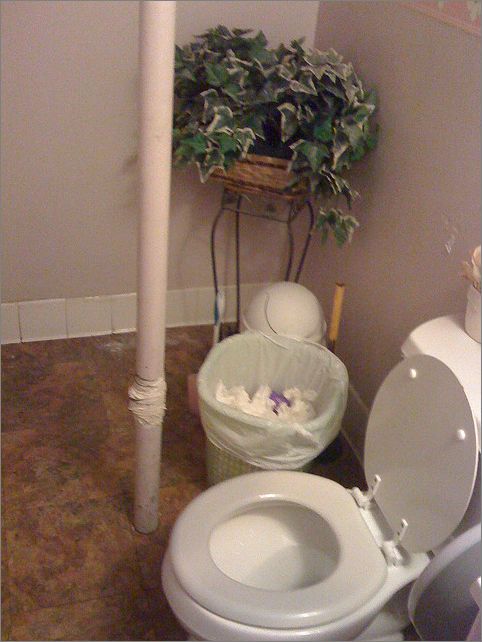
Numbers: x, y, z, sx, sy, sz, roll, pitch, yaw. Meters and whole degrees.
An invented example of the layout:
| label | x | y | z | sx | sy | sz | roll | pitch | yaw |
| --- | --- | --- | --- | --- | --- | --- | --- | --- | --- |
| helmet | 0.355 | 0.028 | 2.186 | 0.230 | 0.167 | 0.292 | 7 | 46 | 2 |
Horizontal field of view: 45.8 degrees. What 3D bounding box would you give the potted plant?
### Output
| label | x | y | z | sx | sy | sz | roll | pitch | yaw |
| --- | --- | --- | --- | --- | --- | --- | --- | --- | --- |
| potted plant | 0.083 | -0.536 | 1.640 | 0.587 | 0.532 | 0.363 | 9 | 24 | 9 |
